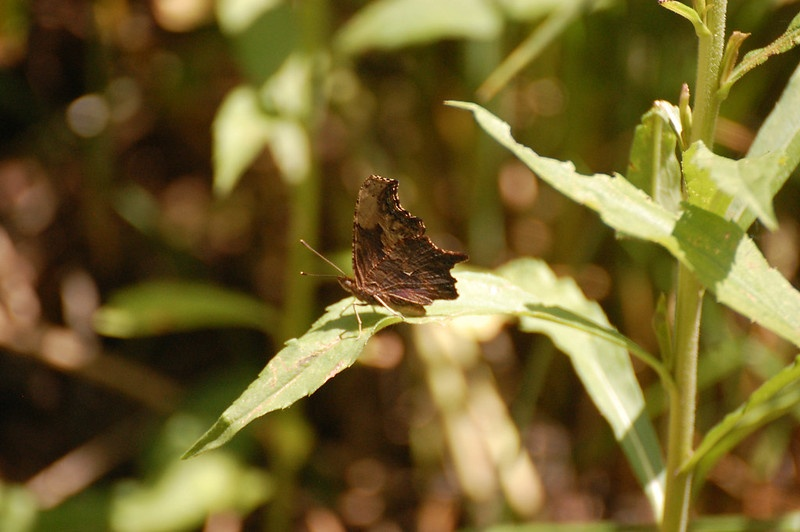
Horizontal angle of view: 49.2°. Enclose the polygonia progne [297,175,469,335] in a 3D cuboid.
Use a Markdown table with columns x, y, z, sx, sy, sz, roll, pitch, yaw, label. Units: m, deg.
| x | y | z | sx | sy | sz | roll | pitch | yaw | label |
| --- | --- | --- | --- | --- | --- | --- | --- | --- | --- |
| -0.016 | -0.058 | 2.584 | 0.420 | 0.411 | 0.122 | 7 | 26 | 30 | polygonia progne |
